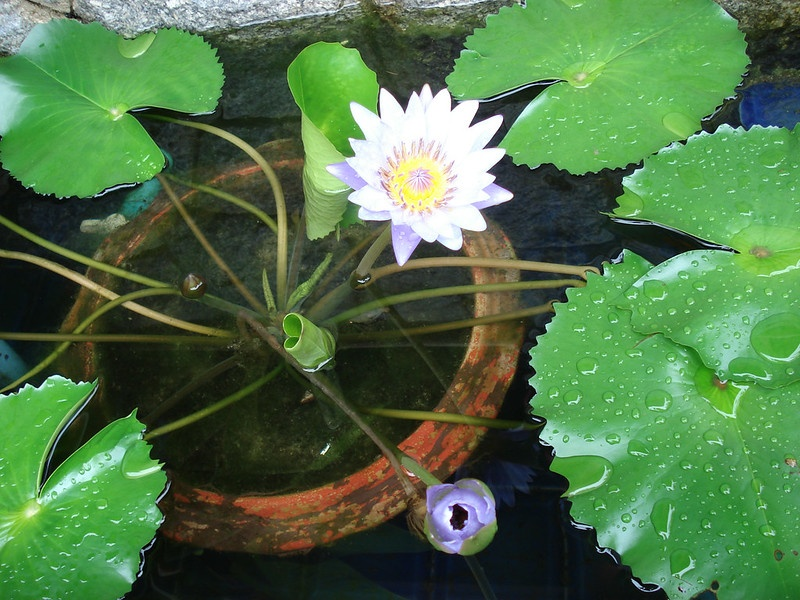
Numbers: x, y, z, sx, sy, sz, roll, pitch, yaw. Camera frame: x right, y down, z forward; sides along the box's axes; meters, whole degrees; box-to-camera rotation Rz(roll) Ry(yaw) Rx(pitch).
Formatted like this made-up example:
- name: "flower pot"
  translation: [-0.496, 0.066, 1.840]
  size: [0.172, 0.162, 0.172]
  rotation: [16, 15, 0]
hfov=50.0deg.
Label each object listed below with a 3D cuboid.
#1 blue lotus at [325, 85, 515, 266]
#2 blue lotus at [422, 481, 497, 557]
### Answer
- name: "blue lotus"
  translation: [0.066, -0.367, 2.296]
  size: [0.555, 0.553, 0.197]
  rotation: [10, 73, -44]
- name: "blue lotus"
  translation: [0.126, 0.534, 2.046]
  size: [0.185, 0.111, 0.162]
  rotation: [15, 37, 13]
